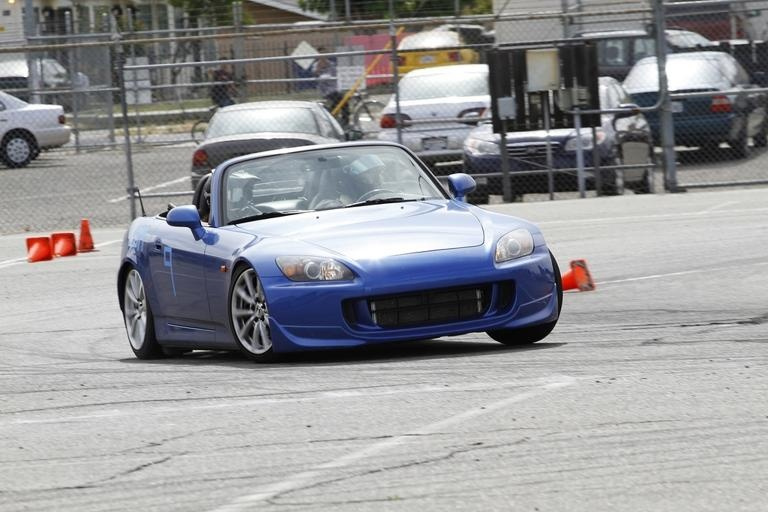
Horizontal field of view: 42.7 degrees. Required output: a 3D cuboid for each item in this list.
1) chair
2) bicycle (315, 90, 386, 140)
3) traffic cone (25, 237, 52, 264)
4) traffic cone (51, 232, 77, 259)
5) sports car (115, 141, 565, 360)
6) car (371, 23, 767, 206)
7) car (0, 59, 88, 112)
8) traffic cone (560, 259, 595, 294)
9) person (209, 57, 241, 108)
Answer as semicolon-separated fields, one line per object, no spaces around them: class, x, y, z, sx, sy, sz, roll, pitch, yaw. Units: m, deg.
chair;-0.730;-0.587;8.117;0.694;0.369;1.096;-10;0;-44
bicycle;-0.460;-2.339;16.263;1.251;0.518;0.625;-3;36;3
traffic cone;-4.940;-0.090;14.025;0.354;0.341;0.336;-5;7;-17
traffic cone;-4.697;-0.160;14.391;0.328;0.326;0.357;-5;7;-17
sports car;-0.731;-0.082;8.005;1.989;0.952;2.967;-3;-4;-28
car;3.103;-2.279;17.096;6.583;1.926;2.873;-1;7;-3
car;-7.396;-3.745;21.329;1.771;0.864;2.799;-5;3;-44
traffic cone;1.959;0.228;10.025;0.264;0.302;0.396;6;-14;-45
person;-2.691;-2.868;16.509;0.498;0.661;0.195;-2;16;16
